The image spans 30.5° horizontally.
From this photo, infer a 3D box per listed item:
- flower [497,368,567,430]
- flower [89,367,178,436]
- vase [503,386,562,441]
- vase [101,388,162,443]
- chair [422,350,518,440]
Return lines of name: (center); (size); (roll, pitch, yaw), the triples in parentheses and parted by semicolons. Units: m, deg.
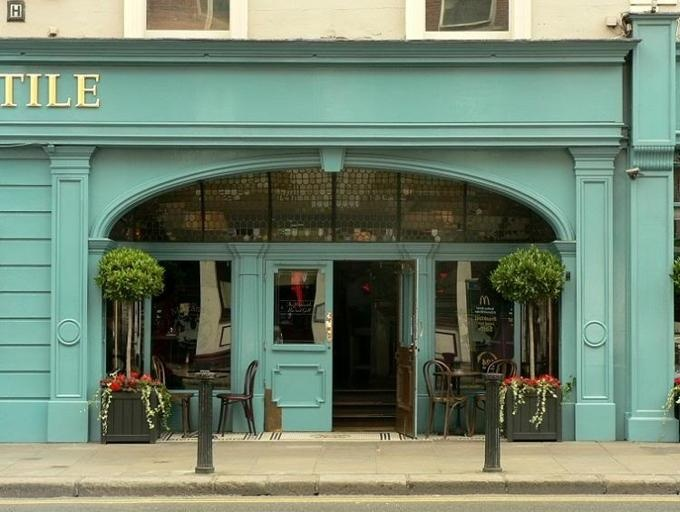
flower: (3.053, 2.131, 19.631); (1.133, 1.048, 0.842); (2, -1, 6)
flower: (-3.186, 2.297, 19.177); (1.086, 1.192, 1.061); (0, -3, 1)
vase: (2.999, 2.438, 19.313); (0.827, 0.758, 0.815); (0, -3, 3)
vase: (-3.240, 2.547, 19.536); (1.127, 0.778, 1.076); (2, -5, -21)
chair: (1.957, 2.266, 20.296); (1.186, 1.773, 1.370); (0, 0, 42)
